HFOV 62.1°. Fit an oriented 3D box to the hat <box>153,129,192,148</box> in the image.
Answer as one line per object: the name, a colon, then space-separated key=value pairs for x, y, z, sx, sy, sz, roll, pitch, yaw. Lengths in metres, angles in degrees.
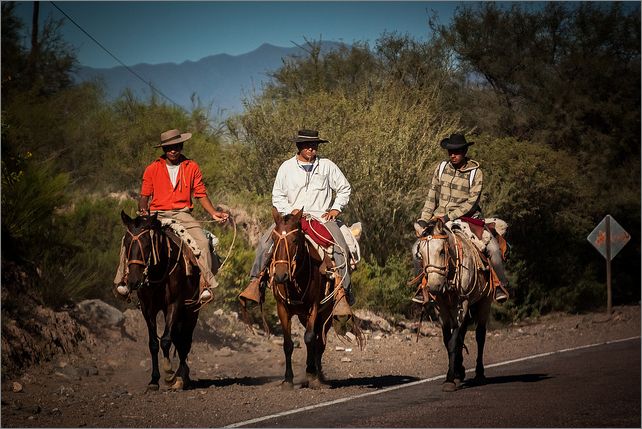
hat: x=-3.460 y=-1.719 z=12.157 sx=0.581 sy=0.195 sz=0.624 roll=-14 pitch=15 yaw=36

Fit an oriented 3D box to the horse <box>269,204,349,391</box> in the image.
horse: x=-0.467 y=1.825 z=11.375 sx=0.740 sy=2.691 sz=1.748 roll=0 pitch=1 yaw=41

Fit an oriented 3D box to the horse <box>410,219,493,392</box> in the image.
horse: x=3.025 y=1.911 z=11.824 sx=0.940 sy=3.705 sz=2.391 roll=-1 pitch=1 yaw=33

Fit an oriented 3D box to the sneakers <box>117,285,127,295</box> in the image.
sneakers: x=-4.107 y=1.542 z=10.980 sx=0.153 sy=0.195 sz=0.217 roll=1 pitch=0 yaw=-6

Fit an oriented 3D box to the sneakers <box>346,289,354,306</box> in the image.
sneakers: x=0.638 y=1.843 z=12.062 sx=0.156 sy=0.254 sz=0.510 roll=-1 pitch=-12 yaw=3
